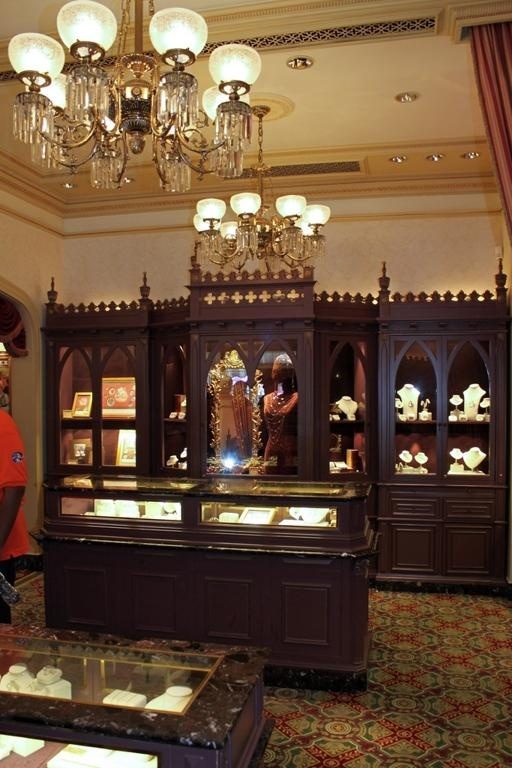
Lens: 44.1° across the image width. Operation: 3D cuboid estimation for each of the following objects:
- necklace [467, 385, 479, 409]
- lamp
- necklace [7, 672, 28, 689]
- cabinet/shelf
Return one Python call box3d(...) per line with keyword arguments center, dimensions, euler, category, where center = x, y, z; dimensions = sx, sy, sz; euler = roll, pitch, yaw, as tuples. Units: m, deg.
box3d(center=(1.850, 0.099, 5.352), dimensions=(0.115, 0.197, 0.024), euler=(-1, -2, 16), category="necklace")
box3d(center=(-0.426, -1.444, 3.792), dimensions=(1.652, 1.765, 1.350), euler=(1, -4, -3), category="lamp")
box3d(center=(-0.619, 0.773, 1.653), dimensions=(0.029, 0.012, 0.035), euler=(5, 15, -8), category="necklace")
box3d(center=(0.233, 0.333, 5.491), dimensions=(3.906, 2.724, 1.456), euler=(0, -2, 0), category="cabinet/shelf")
